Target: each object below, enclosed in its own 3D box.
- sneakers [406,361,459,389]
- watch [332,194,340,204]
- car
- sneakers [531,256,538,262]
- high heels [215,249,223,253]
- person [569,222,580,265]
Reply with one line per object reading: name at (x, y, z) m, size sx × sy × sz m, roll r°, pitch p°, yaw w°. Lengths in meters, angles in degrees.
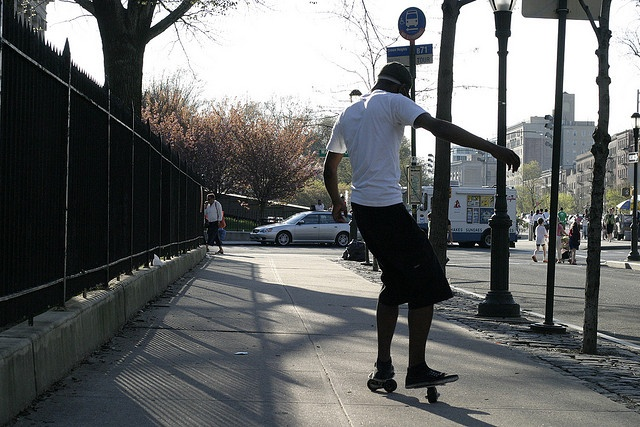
sneakers at (0.995, 1.498, 6.333) m, size 0.540 × 0.277 × 0.202 m, roll -5°, pitch -4°, yaw 7°
watch at (0.163, -0.138, 6.650) m, size 0.075 × 0.083 × 0.071 m, roll -1°, pitch -2°, yaw 4°
car at (-0.745, 0.828, 31.060) m, size 4.143 × 1.452 × 1.839 m, roll 2°, pitch -3°, yaw -9°
sneakers at (7.767, 1.651, 24.774) m, size 0.174 × 0.256 × 0.569 m, roll -3°, pitch -15°, yaw 19°
high heels at (-3.292, 1.258, 22.935) m, size 0.118 × 0.098 × 0.228 m, roll 4°, pitch 1°, yaw -31°
person at (8.930, 0.967, 24.065) m, size 0.336 × 1.173 × 2.060 m, roll 3°, pitch 2°, yaw 21°
